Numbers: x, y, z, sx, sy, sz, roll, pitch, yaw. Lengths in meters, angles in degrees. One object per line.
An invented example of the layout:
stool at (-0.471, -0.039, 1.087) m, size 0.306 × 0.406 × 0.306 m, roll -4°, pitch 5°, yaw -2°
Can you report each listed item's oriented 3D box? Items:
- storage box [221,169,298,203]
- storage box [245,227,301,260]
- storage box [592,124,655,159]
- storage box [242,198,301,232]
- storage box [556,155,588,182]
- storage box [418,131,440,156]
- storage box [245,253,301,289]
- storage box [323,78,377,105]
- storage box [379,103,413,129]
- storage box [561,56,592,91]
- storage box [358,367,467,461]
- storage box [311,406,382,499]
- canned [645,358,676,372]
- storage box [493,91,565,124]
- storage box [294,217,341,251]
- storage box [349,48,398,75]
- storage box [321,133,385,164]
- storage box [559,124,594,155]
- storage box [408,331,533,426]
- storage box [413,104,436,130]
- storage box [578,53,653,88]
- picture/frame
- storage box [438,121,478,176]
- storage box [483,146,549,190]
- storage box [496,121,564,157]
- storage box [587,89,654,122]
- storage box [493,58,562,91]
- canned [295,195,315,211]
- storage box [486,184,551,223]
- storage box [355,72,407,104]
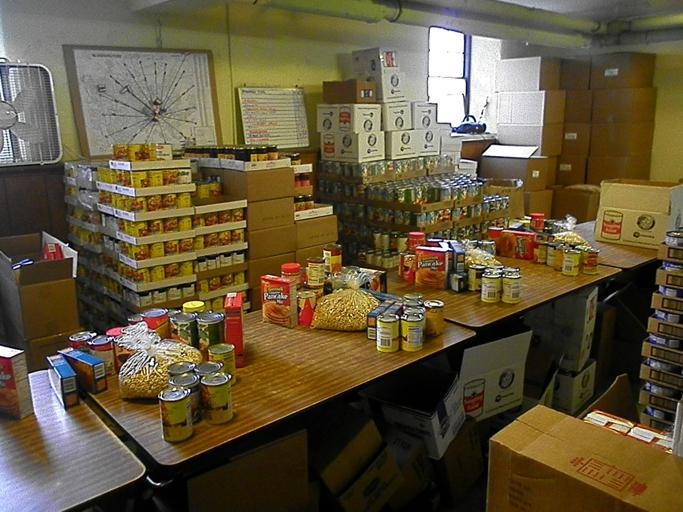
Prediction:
storage box at (-0.667, -0.653, 4.410) m, size 0.580 × 0.213 × 0.535 m, roll -6°, pitch 11°, yaw 2°
storage box at (-0.748, -0.120, 4.578) m, size 0.497 × 0.282 × 0.634 m, roll -12°, pitch 6°, yaw -35°
storage box at (4.505, -1.871, 7.793) m, size 0.711 × 0.411 × 0.699 m, roll 6°, pitch 18°, yaw 30°
storage box at (-0.648, -0.427, 4.266) m, size 0.404 × 0.181 × 0.293 m, roll -16°, pitch 21°, yaw -43°
storage box at (4.019, -1.488, 8.304) m, size 0.462 × 0.411 × 0.444 m, roll -10°, pitch 14°, yaw -29°
storage box at (1.068, -1.399, 6.006) m, size 0.165 × 0.268 × 0.324 m, roll 10°, pitch 20°, yaw 43°
storage box at (-0.616, 0.138, 4.295) m, size 0.533 × 0.256 × 0.316 m, roll -9°, pitch -9°, yaw -21°
storage box at (0.048, -1.895, 5.594) m, size 0.630 × 0.291 × 0.370 m, roll 1°, pitch 15°, yaw 17°
storage box at (0.668, -1.661, 5.757) m, size 0.457 × 0.328 × 0.127 m, roll -16°, pitch 19°, yaw -39°
storage box at (3.904, -3.029, 8.082) m, size 0.537 × 0.477 × 0.496 m, roll 3°, pitch 14°, yaw 1°
storage box at (0.401, 0.886, 2.702) m, size 0.528 × 0.304 × 0.386 m, roll -15°, pitch 11°, yaw 35°
storage box at (0.008, 0.938, 2.350) m, size 0.341 × 0.216 × 0.322 m, roll -32°, pitch 40°, yaw -22°
canned at (1.848, 0.628, 2.805) m, size 0.155 × 0.054 × 0.056 m, roll 10°, pitch 20°, yaw 41°
storage box at (3.267, -2.497, 8.225) m, size 1.180 × 0.473 × 1.126 m, roll 4°, pitch 14°, yaw 4°
storage box at (-0.229, -0.232, 4.633) m, size 0.312 × 0.190 × 0.435 m, roll 14°, pitch 22°, yaw 43°
storage box at (0.373, -2.318, 5.745) m, size 0.432 × 0.237 × 0.418 m, roll -16°, pitch 22°, yaw -39°
storage box at (0.173, -1.260, 5.587) m, size 0.449 × 0.284 × 0.634 m, roll -15°, pitch 21°, yaw -43°
storage box at (3.911, -2.014, 8.187) m, size 0.506 × 0.456 × 0.492 m, roll 15°, pitch 28°, yaw 24°
storage box at (0.748, 0.631, 2.980) m, size 0.590 × 0.534 × 0.562 m, roll -16°, pitch 24°, yaw -24°
storage box at (1.010, -1.712, 5.943) m, size 0.333 × 0.258 × 0.175 m, roll -14°, pitch 18°, yaw -43°
storage box at (4.472, -2.953, 7.717) m, size 0.749 × 0.423 × 0.717 m, roll 6°, pitch 18°, yaw 25°
picture/frame at (-2.049, -1.560, 4.858) m, size 1.613 × 1.050 × 0.085 m, roll -11°, pitch 15°, yaw -35°
storage box at (1.698, -1.565, 7.062) m, size 0.650 × 0.985 × 1.082 m, roll 1°, pitch 15°, yaw 8°
storage box at (2.869, -1.488, 7.900) m, size 0.836 × 0.746 × 1.100 m, roll -10°, pitch 20°, yaw -39°
storage box at (3.294, -1.923, 8.173) m, size 0.741 × 0.429 × 0.745 m, roll 13°, pitch 20°, yaw 40°
storage box at (4.503, -2.416, 7.723) m, size 0.710 × 0.403 × 0.690 m, roll 4°, pitch 18°, yaw 25°
storage box at (3.052, -2.967, 8.004) m, size 0.803 × 0.451 × 0.783 m, roll 8°, pitch 22°, yaw 25°
canned at (-0.353, -0.512, 4.588) m, size 0.156 × 0.135 × 0.153 m, roll -13°, pitch 18°, yaw -41°
storage box at (2.264, -0.698, 6.276) m, size 0.734 × 0.431 × 0.746 m, roll -13°, pitch 20°, yaw -38°
storage box at (0.503, -2.027, 5.763) m, size 0.461 × 0.257 × 0.442 m, roll -15°, pitch 25°, yaw -29°
